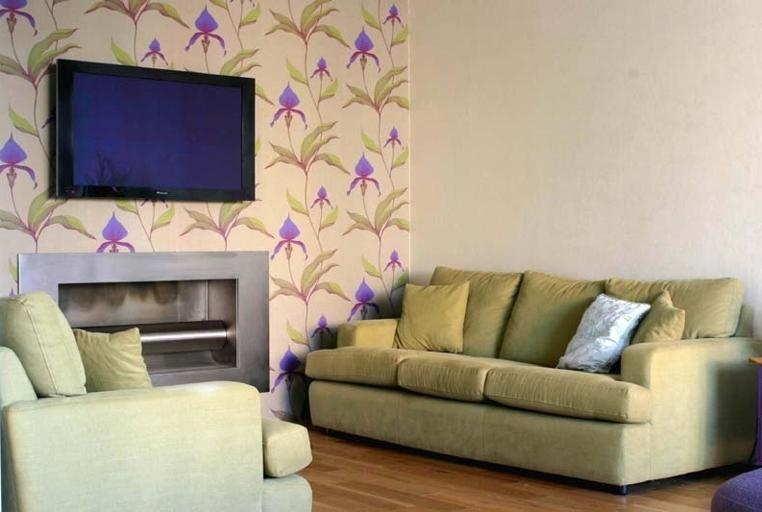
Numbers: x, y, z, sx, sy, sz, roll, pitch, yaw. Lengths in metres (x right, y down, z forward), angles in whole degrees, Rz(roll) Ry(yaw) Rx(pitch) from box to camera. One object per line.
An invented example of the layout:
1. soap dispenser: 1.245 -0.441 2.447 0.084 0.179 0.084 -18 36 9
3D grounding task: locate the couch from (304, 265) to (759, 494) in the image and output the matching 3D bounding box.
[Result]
1. couch: 1.004 0.740 4.141 2.563 1.278 1.125 3 4 37

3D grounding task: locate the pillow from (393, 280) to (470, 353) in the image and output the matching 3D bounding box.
1. pillow: 0.408 0.504 4.883 0.583 0.549 0.219 -3 -15 38

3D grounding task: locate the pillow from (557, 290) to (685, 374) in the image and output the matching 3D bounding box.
1. pillow: 1.457 0.460 3.777 0.565 0.565 0.175 0 -31 49

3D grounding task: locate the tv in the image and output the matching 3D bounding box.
1. tv: -1.752 -0.943 4.613 1.220 0.825 0.132 2 -5 -28
